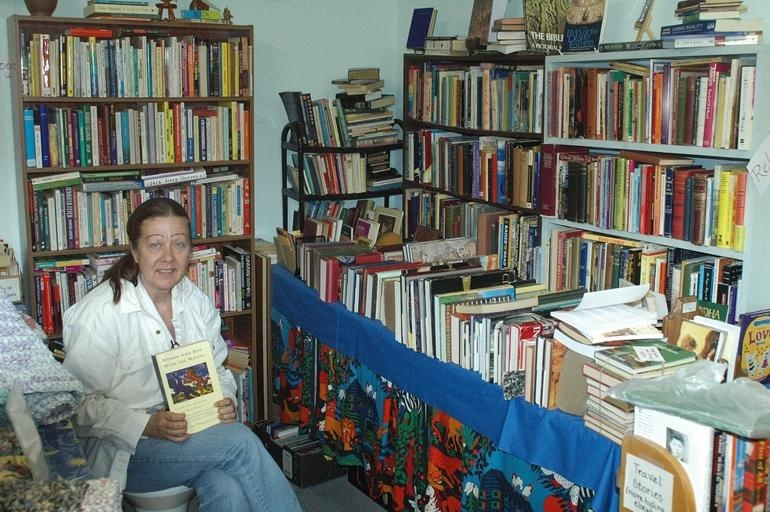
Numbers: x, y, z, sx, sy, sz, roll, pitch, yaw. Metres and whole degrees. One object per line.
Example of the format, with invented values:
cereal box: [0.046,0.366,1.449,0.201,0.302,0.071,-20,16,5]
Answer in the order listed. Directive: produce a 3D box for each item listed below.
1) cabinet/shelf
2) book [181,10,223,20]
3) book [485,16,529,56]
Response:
cabinet/shelf: [-0.038,0.021,3.188,3.353,0.287,0.679,30,16,39]
book: [-1.180,-1.549,4.048,0.142,0.033,0.139,-5,13,-24]
book: [0.746,-1.320,3.782,0.286,0.134,0.205,0,13,-2]
